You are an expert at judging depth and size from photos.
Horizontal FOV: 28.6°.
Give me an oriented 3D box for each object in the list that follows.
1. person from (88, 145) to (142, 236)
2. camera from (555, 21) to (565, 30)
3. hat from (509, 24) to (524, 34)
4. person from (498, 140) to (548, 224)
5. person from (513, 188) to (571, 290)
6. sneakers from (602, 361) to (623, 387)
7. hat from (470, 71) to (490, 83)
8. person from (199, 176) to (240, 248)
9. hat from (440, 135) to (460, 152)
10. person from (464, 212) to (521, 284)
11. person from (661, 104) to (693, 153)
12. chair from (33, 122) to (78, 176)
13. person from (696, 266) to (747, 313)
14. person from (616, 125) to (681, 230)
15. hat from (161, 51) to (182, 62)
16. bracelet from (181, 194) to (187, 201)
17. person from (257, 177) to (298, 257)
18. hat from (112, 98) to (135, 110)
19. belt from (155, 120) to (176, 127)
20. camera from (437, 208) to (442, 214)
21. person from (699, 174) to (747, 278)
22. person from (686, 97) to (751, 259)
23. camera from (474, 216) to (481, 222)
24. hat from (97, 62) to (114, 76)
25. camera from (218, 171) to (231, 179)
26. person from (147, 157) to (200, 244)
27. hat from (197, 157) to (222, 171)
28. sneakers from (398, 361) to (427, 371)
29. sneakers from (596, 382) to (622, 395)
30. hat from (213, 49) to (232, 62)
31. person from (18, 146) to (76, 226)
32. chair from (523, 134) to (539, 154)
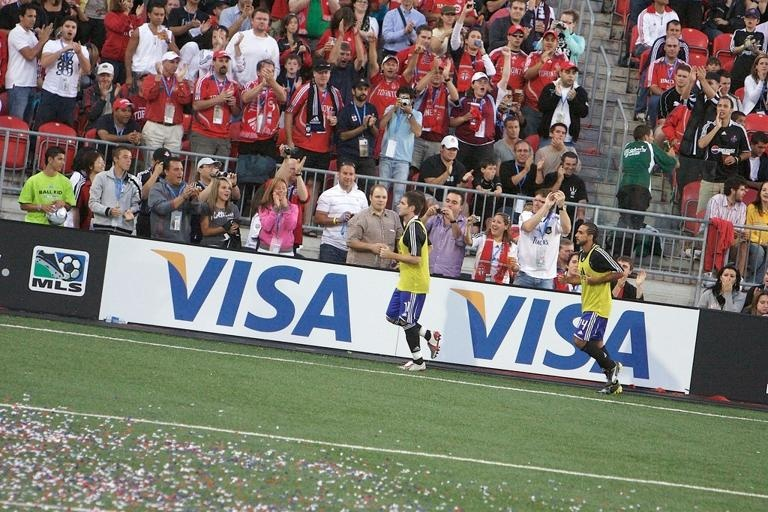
[{"bbox_3d":[-5.014,-1.224,28.395,0.965,1.471,0.754,6,-2,-15],"label":"person"},{"bbox_3d":[3.770,-5.008,32.629,0.187,0.183,0.299,-3,10,-3],"label":"camera"},{"bbox_3d":[2.789,-4.880,32.181,0.261,0.202,0.431,4,23,4],"label":"hat"},{"bbox_3d":[2.740,-1.312,30.258,0.907,1.922,0.882,-1,0,32],"label":"person"},{"bbox_3d":[2.940,0.173,28.330,0.972,2.840,0.847,5,-1,13],"label":"person"},{"bbox_3d":[4.093,2.222,27.159,0.294,0.610,0.203,7,12,-11],"label":"sneakers"},{"bbox_3d":[1.959,-3.686,31.088,0.321,0.180,0.334,6,-1,-1],"label":"hat"},{"bbox_3d":[-3.077,-0.828,28.553,0.807,1.161,0.464,6,-2,-12],"label":"person"},{"bbox_3d":[1.298,-2.238,29.810,0.296,0.221,0.306,6,-2,-6],"label":"hat"},{"bbox_3d":[2.026,-0.153,28.419,0.964,1.011,0.733,5,-2,3],"label":"person"},{"bbox_3d":[6.108,-2.737,31.839,0.350,0.902,0.758,5,5,-44],"label":"person"},{"bbox_3d":[-6.382,-1.967,29.564,0.815,1.015,0.795,-4,25,-27],"label":"chair"},{"bbox_3d":[6.441,0.680,28.810,0.732,1.553,0.523,4,-4,7],"label":"person"},{"bbox_3d":[5.232,-1.583,30.748,1.020,1.554,2.171,5,-2,20],"label":"person"},{"bbox_3d":[-4.286,-3.977,30.116,0.242,0.172,0.320,0,2,-33],"label":"hat"},{"bbox_3d":[-3.705,-1.073,27.976,0.098,0.096,0.154,8,0,-16],"label":"bracelet"},{"bbox_3d":[-1.975,-0.742,28.243,0.766,1.186,0.595,6,-2,-5],"label":"person"},{"bbox_3d":[-5.146,-3.000,29.694,0.290,0.147,0.220,-3,2,44],"label":"hat"},{"bbox_3d":[-4.325,-2.638,30.050,0.367,0.057,0.074,6,-2,-27],"label":"belt"},{"bbox_3d":[1.035,-0.828,28.487,0.074,0.028,0.073,0,-39,-2],"label":"camera"},{"bbox_3d":[6.638,-0.560,29.566,0.770,1.361,0.784,5,-2,13],"label":"person"},{"bbox_3d":[7.052,-1.768,31.473,1.140,3.176,0.918,13,27,32],"label":"person"},{"bbox_3d":[1.792,-0.696,29.013,0.104,0.043,0.115,1,-19,-2],"label":"camera"},{"bbox_3d":[-5.677,-3.839,30.881,0.241,0.185,0.338,3,10,-9],"label":"hat"},{"bbox_3d":[-3.039,-1.544,28.731,0.111,0.114,0.297,-24,14,-20],"label":"camera"},{"bbox_3d":[-3.914,-1.069,28.218,0.939,1.420,0.790,6,-2,-9],"label":"person"},{"bbox_3d":[-3.411,-1.773,28.902,0.358,0.169,0.253,-9,-5,40],"label":"hat"},{"bbox_3d":[0.503,2.006,27.203,0.511,0.220,0.186,1,7,3],"label":"sneakers"},{"bbox_3d":[4.005,2.425,27.199,0.515,0.255,0.178,-1,16,6],"label":"sneakers"},{"bbox_3d":[-3.260,-4.029,30.225,0.332,0.214,0.323,6,-2,-8],"label":"hat"},{"bbox_3d":[-6.283,-1.328,28.408,1.020,1.367,0.495,6,-2,-13],"label":"person"},{"bbox_3d":[3.121,-2.377,31.708,0.342,0.450,0.363,0,-2,-26],"label":"chair"}]
